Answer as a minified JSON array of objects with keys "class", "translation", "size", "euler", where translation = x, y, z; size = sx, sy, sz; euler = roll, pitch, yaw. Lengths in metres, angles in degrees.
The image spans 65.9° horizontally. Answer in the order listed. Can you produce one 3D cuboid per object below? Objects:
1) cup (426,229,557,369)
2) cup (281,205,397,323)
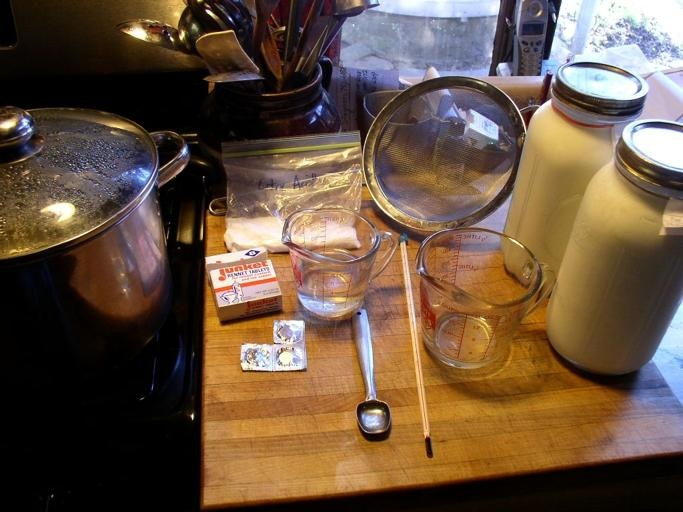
[{"class":"cup","translation":[0.198,0.059,0.823],"size":[0.217,0.177,0.176],"euler":[-11,52,-3]},{"class":"cup","translation":[-0.016,0.019,0.885],"size":[0.202,0.150,0.162],"euler":[-3,52,-8]}]
